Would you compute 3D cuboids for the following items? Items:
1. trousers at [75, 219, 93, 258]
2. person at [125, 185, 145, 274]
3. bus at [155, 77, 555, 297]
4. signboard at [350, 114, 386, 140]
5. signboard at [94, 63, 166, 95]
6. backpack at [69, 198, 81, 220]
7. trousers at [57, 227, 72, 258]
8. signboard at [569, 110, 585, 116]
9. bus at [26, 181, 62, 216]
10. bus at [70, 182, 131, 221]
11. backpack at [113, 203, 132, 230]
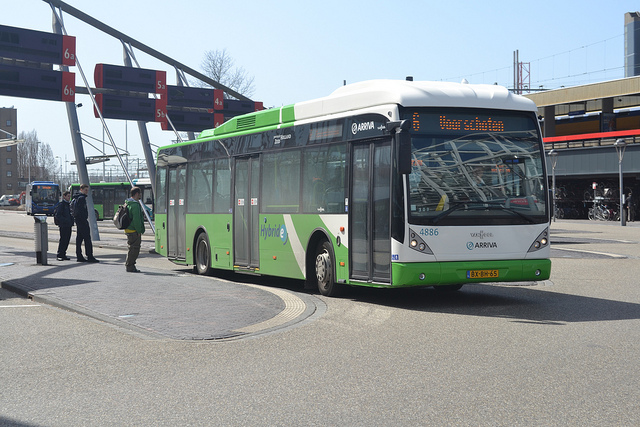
[{"bbox_3d":[-8.282,0.881,18.451,0.688,1.343,0.476,1,1,35],"label":"trousers"},{"bbox_3d":[-5.503,0.485,15.625,0.524,2.500,1.361,0,1,-21],"label":"person"},{"bbox_3d":[-0.804,-0.509,14.274,3.008,4.770,12.956,-1,1,-44],"label":"bus"},{"bbox_3d":[0.977,-1.798,10.731,0.047,0.491,1.046,-1,1,-38],"label":"signboard"},{"bbox_3d":[-11.122,-7.993,31.473,3.586,1.418,1.136,1,4,-22],"label":"signboard"},{"bbox_3d":[-8.524,-0.160,18.334,0.364,0.743,0.199,0,1,21],"label":"backpack"},{"bbox_3d":[-9.122,1.053,18.756,0.404,1.119,0.752,-1,1,-28],"label":"trousers"},{"bbox_3d":[30.618,-11.994,62.609,1.471,0.586,0.276,0,1,30],"label":"signboard"},{"bbox_3d":[-38.219,-2.268,73.454,3.550,4.998,10.220,0,1,-28],"label":"bus"},{"bbox_3d":[-23.350,-1.591,58.888,8.238,4.021,3.042,-2,9,12],"label":"bus"},{"bbox_3d":[-5.946,0.097,15.768,0.444,0.730,0.750,-1,1,-35],"label":"backpack"}]
